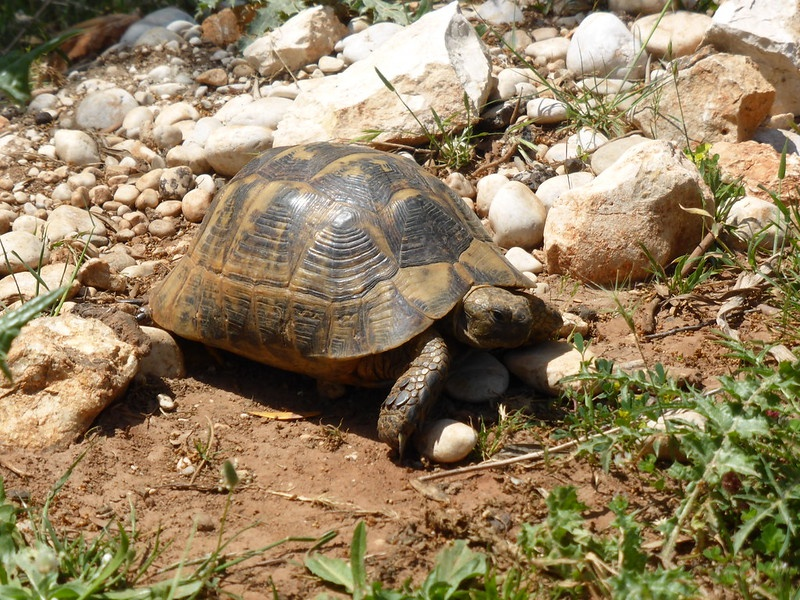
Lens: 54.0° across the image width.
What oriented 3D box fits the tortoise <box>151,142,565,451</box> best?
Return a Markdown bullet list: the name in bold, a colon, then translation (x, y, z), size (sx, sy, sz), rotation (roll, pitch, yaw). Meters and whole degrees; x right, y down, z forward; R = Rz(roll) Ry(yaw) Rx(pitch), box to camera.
- **tortoise**: translation (-0.239, -0.121, 4.367), size (1.973, 0.798, 1.396), rotation (26, 57, 20)
